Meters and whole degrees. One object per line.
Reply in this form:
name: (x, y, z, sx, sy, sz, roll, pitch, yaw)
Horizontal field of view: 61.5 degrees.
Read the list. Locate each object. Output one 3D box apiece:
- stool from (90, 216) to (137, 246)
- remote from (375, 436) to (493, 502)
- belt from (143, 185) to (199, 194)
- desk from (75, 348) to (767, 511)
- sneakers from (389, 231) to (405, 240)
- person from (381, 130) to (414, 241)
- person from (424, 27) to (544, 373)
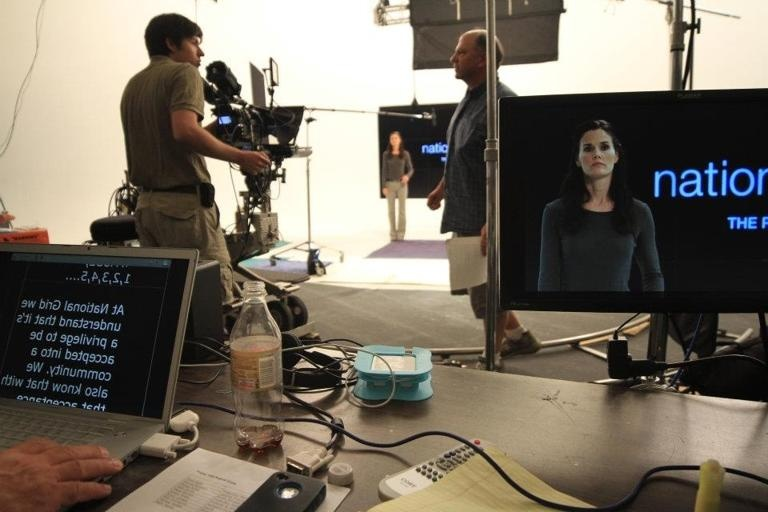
stool: (-1.658, -0.152, 3.973, 0.237, 0.108, 0.229, -8, 14, -23)
remote: (0.132, 0.524, 1.629, 0.310, 0.071, 0.089, -19, 30, -27)
belt: (-1.011, -0.316, 3.053, 0.252, 0.043, 0.074, 1, 9, 4)
desk: (0.225, 0.482, 1.711, 1.553, 0.201, 0.481, 0, 9, 1)
sneakers: (0.182, -0.284, 8.898, 0.135, 0.131, 0.138, 6, 13, 43)
person: (0.166, -0.913, 8.611, 0.379, 1.484, 0.433, -2, 10, -9)
person: (0.597, -0.220, 3.541, 0.717, 1.940, 0.648, -2, 20, -3)
